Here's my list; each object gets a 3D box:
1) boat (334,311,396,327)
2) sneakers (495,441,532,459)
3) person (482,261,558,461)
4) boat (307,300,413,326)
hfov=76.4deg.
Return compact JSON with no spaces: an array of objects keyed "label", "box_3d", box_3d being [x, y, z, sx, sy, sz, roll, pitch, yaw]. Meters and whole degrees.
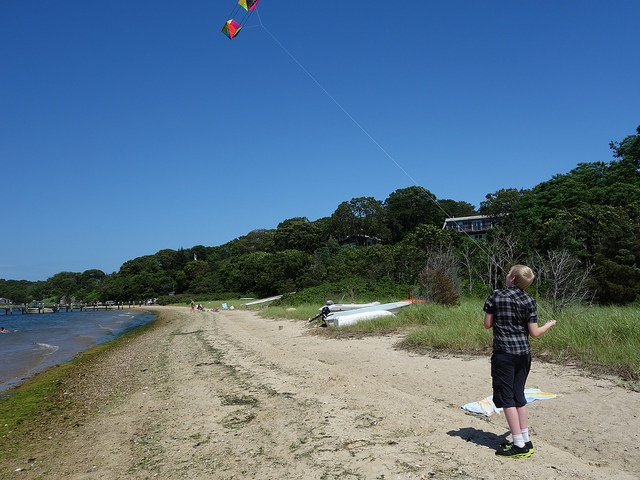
[{"label":"boat","box_3d":[2.404,3.817,20.040,3.527,0.660,0.966,-7,-5,-34]},{"label":"sneakers","box_3d":[3.142,3.426,6.693,0.627,0.275,0.234,0,-8,8]},{"label":"person","box_3d":[3.221,1.990,6.662,0.896,2.537,0.629,-5,-3,19]},{"label":"boat","box_3d":[2.100,3.899,21.369,6.329,1.233,1.413,-5,-4,-34]}]
